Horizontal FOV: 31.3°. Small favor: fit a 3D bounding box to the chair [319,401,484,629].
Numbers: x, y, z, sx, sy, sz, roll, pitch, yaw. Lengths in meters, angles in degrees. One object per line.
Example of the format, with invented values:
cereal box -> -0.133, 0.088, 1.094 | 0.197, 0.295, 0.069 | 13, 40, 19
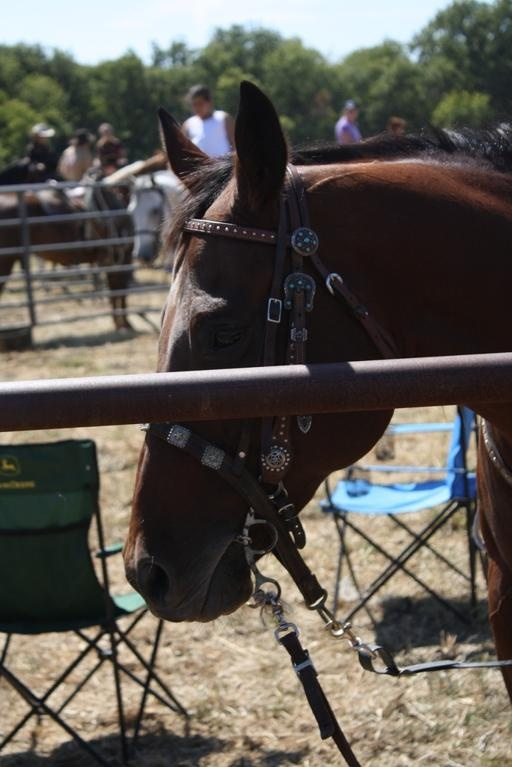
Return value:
chair -> 0.690, 0.531, 4.561 | 0.918, 1.310, 1.055 | -1, 1, 4
